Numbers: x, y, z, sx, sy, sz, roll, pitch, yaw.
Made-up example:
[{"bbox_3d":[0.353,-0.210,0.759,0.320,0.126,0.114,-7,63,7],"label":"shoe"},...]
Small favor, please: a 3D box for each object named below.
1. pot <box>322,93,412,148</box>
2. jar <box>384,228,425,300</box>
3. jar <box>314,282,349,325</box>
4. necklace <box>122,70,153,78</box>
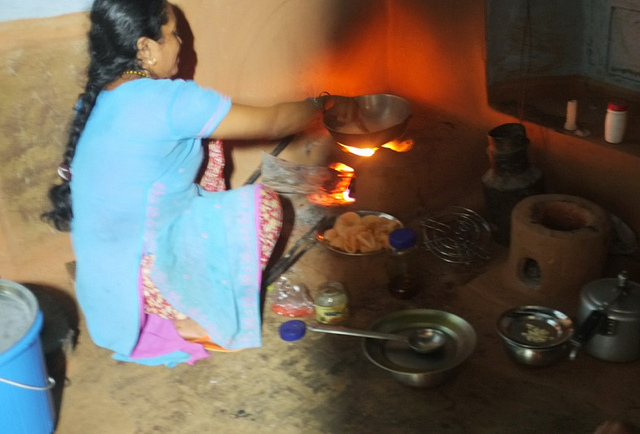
[{"bbox_3d":[0.269,-0.601,3.379,0.494,0.226,0.456,-1,26,0],"label":"pot"},{"bbox_3d":[0.443,0.210,2.911,0.264,0.362,0.282,-1,30,0],"label":"jar"},{"bbox_3d":[0.056,0.438,2.799,0.157,0.160,0.183,-6,39,4],"label":"jar"},{"bbox_3d":[-0.810,-0.641,2.429,0.102,0.036,0.043,6,41,17],"label":"necklace"}]
